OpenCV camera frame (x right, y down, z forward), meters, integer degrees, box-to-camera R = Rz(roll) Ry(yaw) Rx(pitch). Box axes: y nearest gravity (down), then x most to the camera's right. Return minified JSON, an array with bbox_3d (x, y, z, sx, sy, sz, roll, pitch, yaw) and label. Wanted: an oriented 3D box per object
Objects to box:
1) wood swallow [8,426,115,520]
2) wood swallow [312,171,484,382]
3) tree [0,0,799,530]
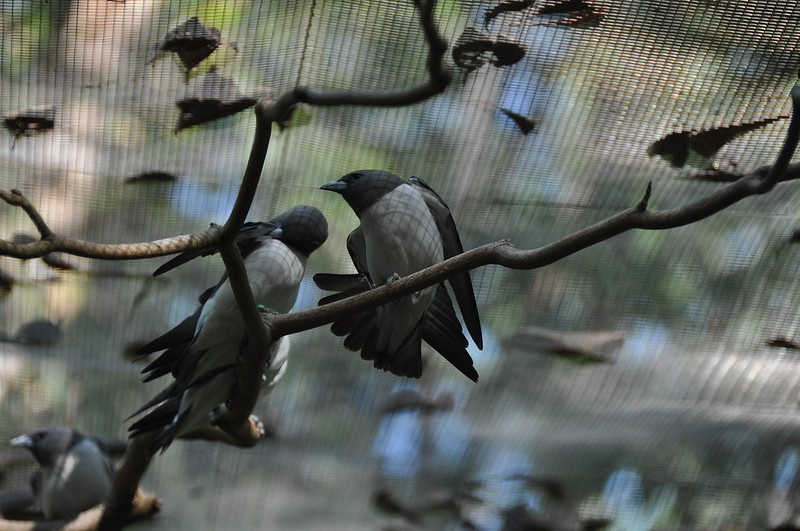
[{"bbox_3d":[-1.020,0.643,3.758,0.353,0.165,0.319,-34,-30,8],"label":"wood swallow"},{"bbox_3d":[0.067,0.002,3.586,0.616,0.597,0.287,-2,28,16],"label":"wood swallow"},{"bbox_3d":[-0.025,-0.062,2.927,1.533,1.067,1.017,2,-12,35],"label":"tree"}]
